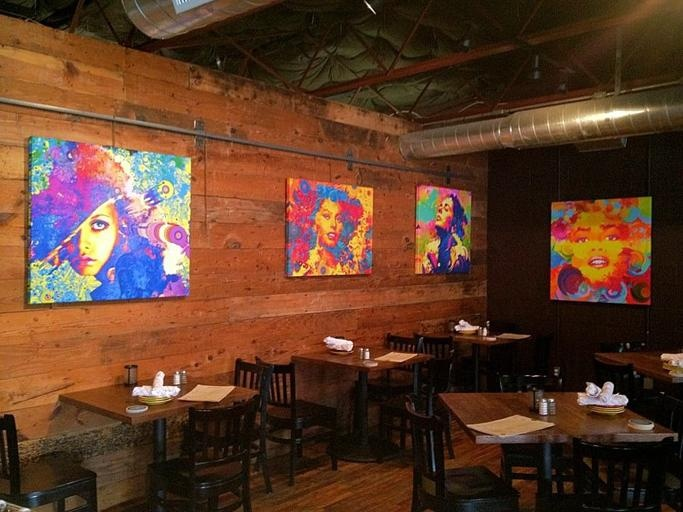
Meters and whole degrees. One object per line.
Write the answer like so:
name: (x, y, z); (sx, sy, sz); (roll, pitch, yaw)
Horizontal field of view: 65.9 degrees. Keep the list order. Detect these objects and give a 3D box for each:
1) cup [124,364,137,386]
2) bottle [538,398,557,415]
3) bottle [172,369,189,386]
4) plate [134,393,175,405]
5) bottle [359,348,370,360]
cup: (-1.710, 0.972, 4.284); (0.150, 0.144, 0.141); (1, -1, 0)
bottle: (1.477, 1.086, 3.787); (0.122, 0.107, 0.117); (1, -5, 14)
bottle: (-1.355, 1.028, 4.416); (0.071, 0.108, 0.127); (-3, -5, 28)
plate: (-1.364, 1.053, 3.876); (0.269, 0.067, 0.154); (0, -2, -18)
bottle: (0.237, 1.022, 5.445); (0.135, 0.116, 0.052); (-4, -7, 44)
